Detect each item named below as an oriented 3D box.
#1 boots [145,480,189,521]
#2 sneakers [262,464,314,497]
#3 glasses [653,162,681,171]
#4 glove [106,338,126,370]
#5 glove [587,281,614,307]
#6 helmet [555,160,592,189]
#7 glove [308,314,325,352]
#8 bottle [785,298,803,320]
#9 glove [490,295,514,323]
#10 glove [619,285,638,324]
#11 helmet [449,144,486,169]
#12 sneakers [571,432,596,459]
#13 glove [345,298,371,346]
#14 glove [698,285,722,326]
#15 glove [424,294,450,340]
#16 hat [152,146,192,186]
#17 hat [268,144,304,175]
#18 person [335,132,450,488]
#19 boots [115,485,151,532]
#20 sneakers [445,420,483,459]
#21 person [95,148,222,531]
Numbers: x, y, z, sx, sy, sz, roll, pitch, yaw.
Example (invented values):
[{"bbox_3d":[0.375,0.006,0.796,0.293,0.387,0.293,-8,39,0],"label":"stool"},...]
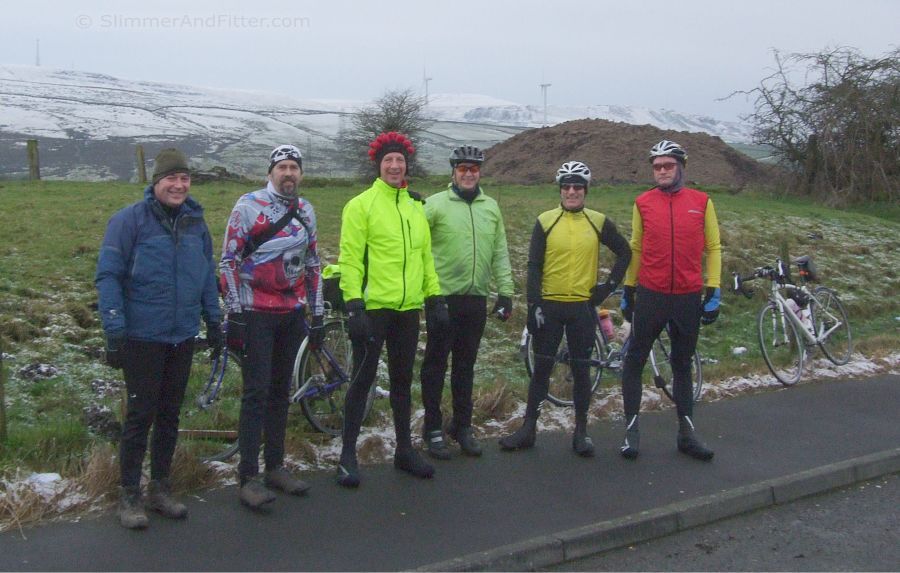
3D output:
[{"bbox_3d":[-3.147,2.375,9.437,0.652,0.411,0.243,10,3,28],"label":"boots"},{"bbox_3d":[-1.919,2.249,9.857,0.631,0.276,0.240,9,7,33],"label":"sneakers"},{"bbox_3d":[2.871,-1.586,11.091,0.340,0.105,0.159,4,14,12],"label":"glasses"},{"bbox_3d":[-3.593,0.738,9.028,0.219,0.293,0.304,3,45,-12],"label":"glove"},{"bbox_3d":[2.004,0.104,11.037,0.307,0.367,0.235,3,13,12],"label":"glove"},{"bbox_3d":[1.628,-1.470,11.103,0.392,0.475,0.521,3,28,8],"label":"helmet"},{"bbox_3d":[-1.618,0.576,10.307,0.137,0.409,0.304,-3,13,-1],"label":"glove"},{"bbox_3d":[5.817,0.382,14.151,0.113,0.392,0.236,-32,16,48],"label":"bottle"},{"bbox_3d":[0.688,0.287,11.132,0.345,0.341,0.151,11,22,-10],"label":"glove"},{"bbox_3d":[2.415,0.226,11.376,0.135,0.411,0.309,10,13,2],"label":"glove"},{"bbox_3d":[0.218,-1.685,10.854,0.428,0.256,0.433,0,14,-1],"label":"helmet"},{"bbox_3d":[1.749,2.059,10.934,0.275,0.247,0.291,2,13,6],"label":"sneakers"},{"bbox_3d":[-1.088,0.402,9.876,0.265,0.500,0.224,0,13,-4],"label":"glove"},{"bbox_3d":[3.448,0.231,11.273,0.379,0.507,0.185,0,12,-13],"label":"glove"},{"bbox_3d":[-0.156,0.371,10.425,0.317,0.453,0.195,0,1,8],"label":"glove"},{"bbox_3d":[-3.010,-1.323,9.348,0.398,0.390,0.373,13,6,26],"label":"hat"},{"bbox_3d":[-1.948,-1.511,9.885,0.435,0.338,0.316,6,1,-19],"label":"hat"},{"bbox_3d":[-0.768,0.220,10.202,1.452,4.055,1.009,-6,14,-27],"label":"person"},{"bbox_3d":[-3.460,2.394,9.164,0.309,0.392,0.409,-6,15,-26],"label":"boots"},{"bbox_3d":[0.177,1.974,10.986,0.218,0.272,0.637,-6,24,-34],"label":"sneakers"},{"bbox_3d":[-3.176,0.533,9.275,1.281,3.945,0.934,-8,15,-33],"label":"person"}]
